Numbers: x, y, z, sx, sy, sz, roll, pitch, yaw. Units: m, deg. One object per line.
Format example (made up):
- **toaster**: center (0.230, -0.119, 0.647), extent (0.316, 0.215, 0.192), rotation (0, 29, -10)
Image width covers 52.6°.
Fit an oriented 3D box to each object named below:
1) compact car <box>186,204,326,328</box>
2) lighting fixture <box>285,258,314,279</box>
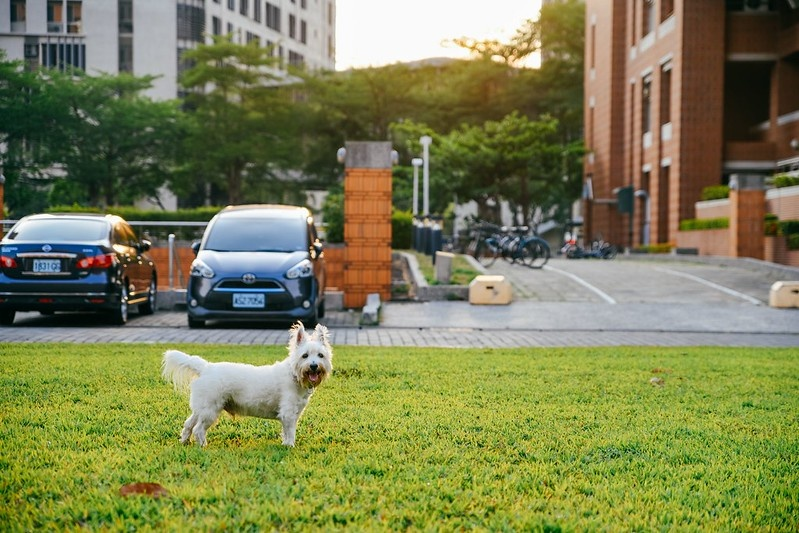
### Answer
- **compact car**: center (-2.571, -0.095, 15.219), extent (1.572, 1.458, 2.809), rotation (0, -2, -2)
- **lighting fixture**: center (-1.753, 0.038, 14.388), extent (0.368, 0.151, 0.264), rotation (-8, 10, -23)
